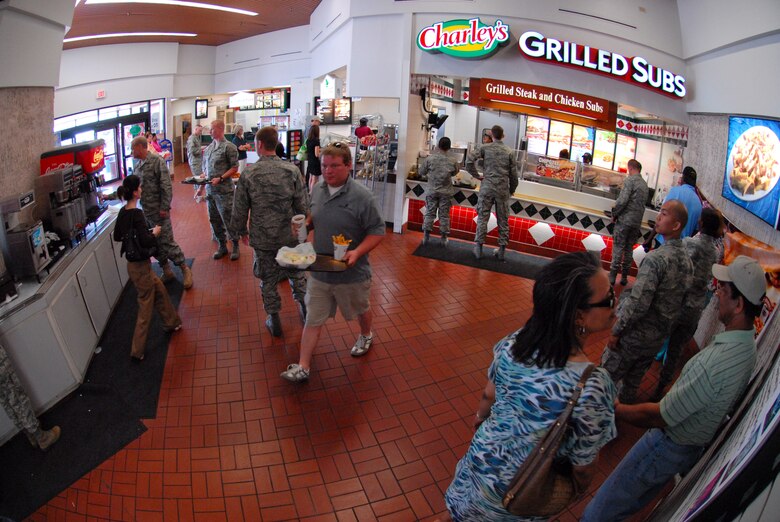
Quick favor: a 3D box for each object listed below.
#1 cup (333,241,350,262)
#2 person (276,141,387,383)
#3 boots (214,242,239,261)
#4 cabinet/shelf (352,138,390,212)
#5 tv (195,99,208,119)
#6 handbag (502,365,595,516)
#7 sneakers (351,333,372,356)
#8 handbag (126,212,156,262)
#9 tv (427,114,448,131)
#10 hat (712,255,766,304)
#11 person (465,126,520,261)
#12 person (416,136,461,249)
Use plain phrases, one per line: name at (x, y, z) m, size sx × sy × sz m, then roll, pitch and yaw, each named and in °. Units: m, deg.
cup at (-0.550, -0.089, 4.543) m, size 0.161 × 0.156 × 0.164 m, roll 4°, pitch 9°, yaw -1°
person at (-0.627, 0.069, 4.752) m, size 1.050 × 2.643 × 0.815 m, roll -1°, pitch 15°, yaw -14°
boots at (-2.987, -0.168, 7.935) m, size 0.469 × 0.435 × 0.403 m, roll 1°, pitch 4°, yaw 4°
cabinet/shelf at (-0.482, -1.887, 9.967) m, size 0.571 × 1.756 × 0.604 m, roll 15°, pitch 22°, yaw 28°
tv at (-8.478, -6.794, 19.118) m, size 0.358 × 0.886 × 0.705 m, roll 8°, pitch 15°, yaw 19°
handbag at (0.890, 0.989, 2.404) m, size 0.275 × 0.765 × 0.633 m, roll 29°, pitch -6°, yaw 31°
sneakers at (-0.352, 1.049, 5.436) m, size 0.151 × 0.152 × 0.379 m, roll 5°, pitch 17°, yaw 19°
handbag at (-3.022, -0.294, 5.190) m, size 0.315 × 0.581 × 0.433 m, roll 5°, pitch -4°, yaw -42°
tv at (1.038, -3.345, 10.348) m, size 0.531 × 0.293 × 0.738 m, roll 4°, pitch 10°, yaw -16°
hat at (2.382, 0.090, 2.866) m, size 0.250 × 0.196 × 0.343 m, roll -20°, pitch 35°, yaw -22°
person at (1.902, -1.270, 8.095) m, size 0.887 × 2.449 × 0.415 m, roll 6°, pitch 15°, yaw 12°
person at (0.966, -1.444, 8.857) m, size 0.763 × 2.120 × 0.970 m, roll 5°, pitch 14°, yaw 7°
